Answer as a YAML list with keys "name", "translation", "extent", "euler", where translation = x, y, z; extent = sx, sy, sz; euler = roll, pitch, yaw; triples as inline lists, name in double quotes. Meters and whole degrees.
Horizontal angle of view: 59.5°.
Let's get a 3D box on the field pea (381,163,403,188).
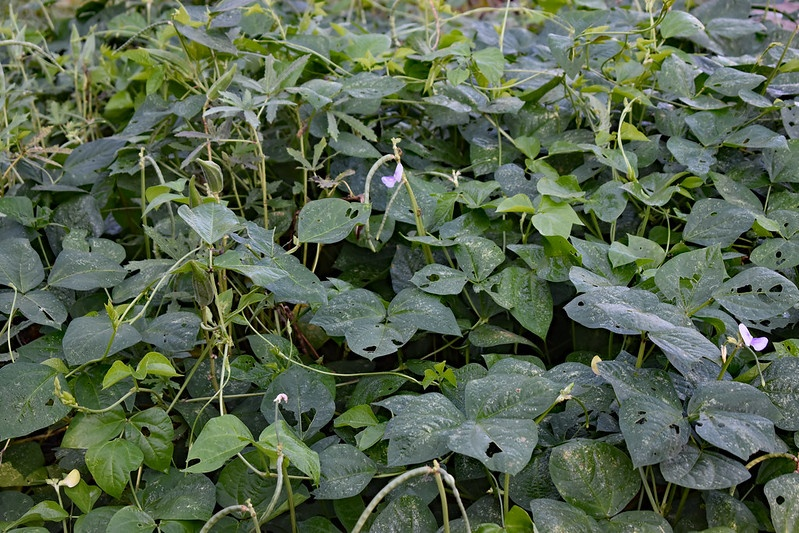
- name: "field pea"
  translation: [-0.020, -0.266, 2.126]
  extent: [0.063, 0.024, 0.090]
  euler: [-11, 32, -7]
